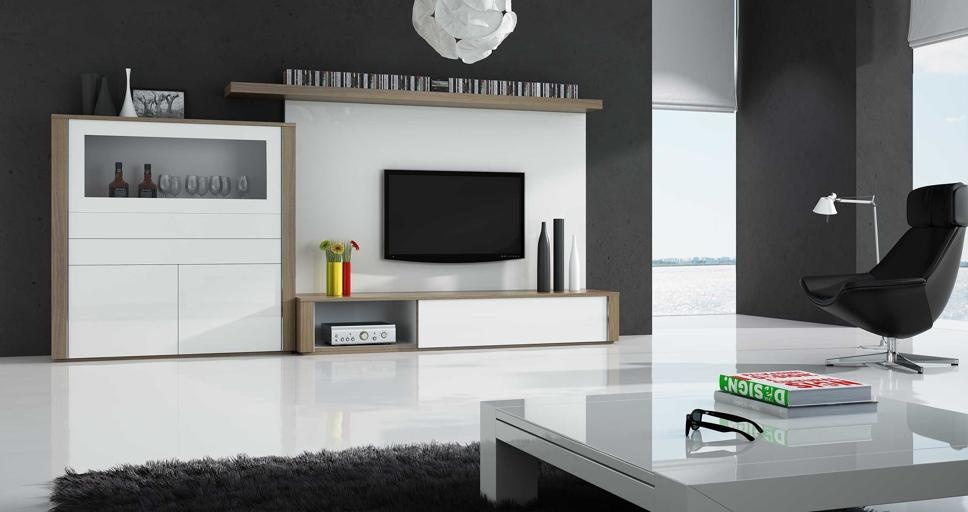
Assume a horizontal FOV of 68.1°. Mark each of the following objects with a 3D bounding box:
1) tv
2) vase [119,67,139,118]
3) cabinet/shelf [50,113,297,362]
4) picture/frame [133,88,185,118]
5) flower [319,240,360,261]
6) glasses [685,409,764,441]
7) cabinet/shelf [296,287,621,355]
[{"bbox_3d":[-0.419,-0.446,7.954,1.329,0.735,0.085,0,5,-8],"label":"tv"},{"bbox_3d":[-3.652,-1.669,7.297,0.165,0.530,0.431,-4,10,-25],"label":"vase"},{"bbox_3d":[-2.981,-0.227,7.616,3.067,2.356,0.973,1,3,21],"label":"cabinet/shelf"},{"bbox_3d":[-3.411,-1.582,7.454,0.475,0.228,0.023,0,0,-13],"label":"picture/frame"},{"bbox_3d":[-1.530,-0.066,7.677,0.282,0.135,0.279,1,2,37],"label":"flower"},{"bbox_3d":[1.234,0.870,3.743,0.254,0.062,0.195,4,-1,21],"label":"glasses"},{"bbox_3d":[-0.264,0.656,7.824,3.422,0.621,0.587,-1,9,-10],"label":"cabinet/shelf"}]
